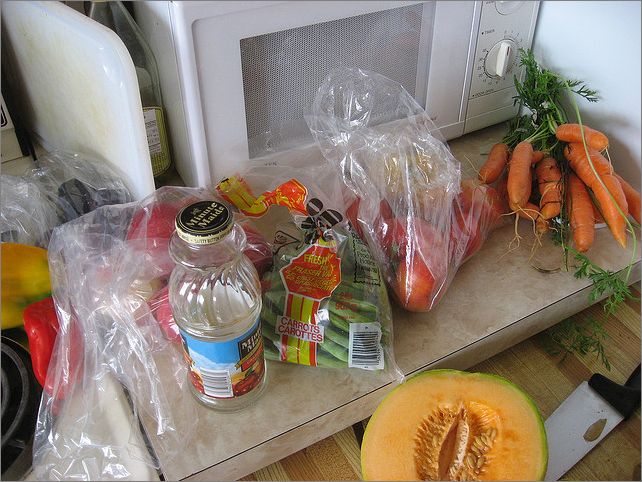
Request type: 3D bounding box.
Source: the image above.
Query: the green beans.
[{"bbox_3d":[0.007,0.089,0.662,0.181,0.123,0.116,1,38,5],"label":"green beans"}]
